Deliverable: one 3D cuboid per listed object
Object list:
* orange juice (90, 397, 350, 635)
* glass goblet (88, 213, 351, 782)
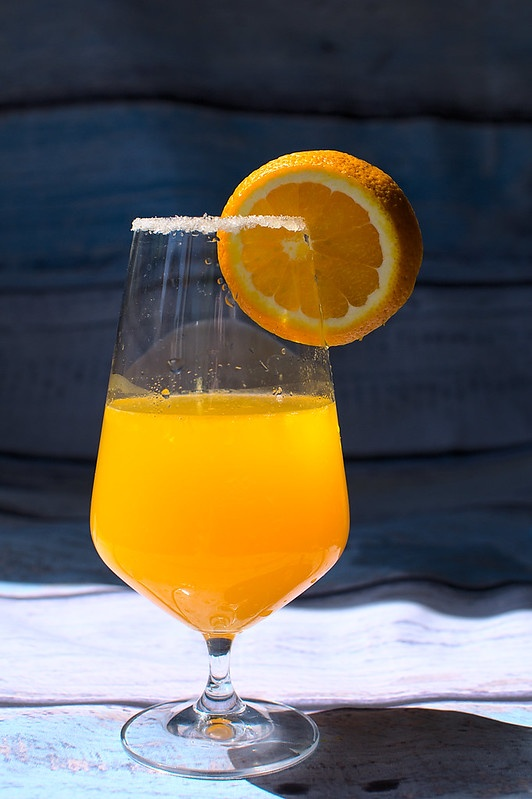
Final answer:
[{"bbox_3d":[-0.025,0.072,0.576,0.173,0.145,0.159,0,0,-2],"label":"orange juice"},{"bbox_3d":[-0.008,0.057,0.570,0.207,0.351,0.186,-1,3,-9],"label":"glass goblet"}]
